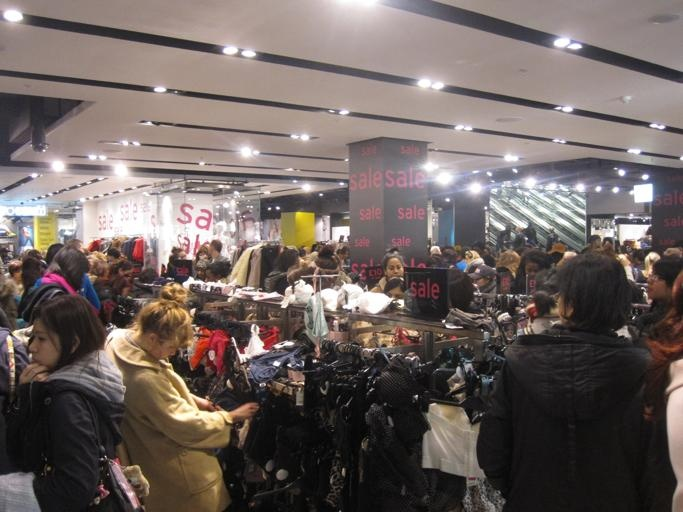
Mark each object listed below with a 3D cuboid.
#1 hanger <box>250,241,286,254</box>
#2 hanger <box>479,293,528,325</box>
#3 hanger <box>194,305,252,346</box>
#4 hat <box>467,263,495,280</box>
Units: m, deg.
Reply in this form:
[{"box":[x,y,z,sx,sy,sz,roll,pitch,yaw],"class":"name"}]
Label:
[{"box":[-0.857,-0.109,6.263,0.266,0.092,0.266,1,2,26],"class":"hanger"},{"box":[1.236,0.378,3.931,0.283,0.126,0.308,0,0,-17],"class":"hanger"},{"box":[-0.862,0.496,3.747,0.443,0.176,0.273,14,1,-12],"class":"hanger"},{"box":[1.856,0.213,6.570,0.457,0.173,0.291,0,5,-2],"class":"hat"}]
